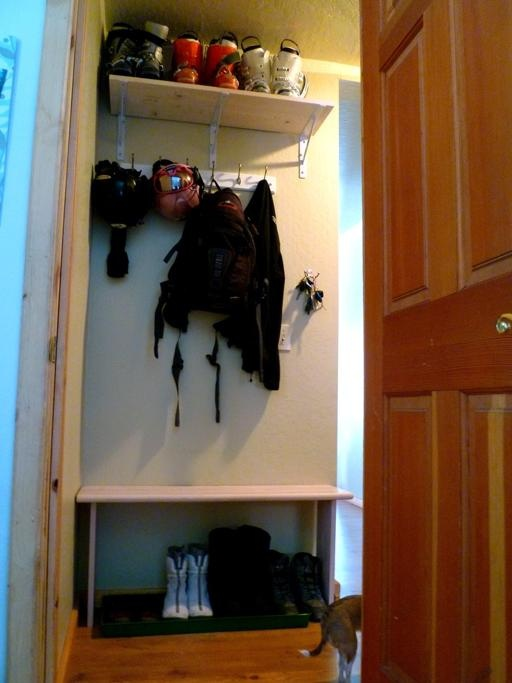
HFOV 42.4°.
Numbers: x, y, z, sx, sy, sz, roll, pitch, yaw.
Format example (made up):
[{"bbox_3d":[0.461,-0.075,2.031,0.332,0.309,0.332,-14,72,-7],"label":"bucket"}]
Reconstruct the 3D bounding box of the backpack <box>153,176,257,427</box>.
[{"bbox_3d":[-0.203,-0.138,2.610,0.426,0.981,0.316,6,4,36],"label":"backpack"}]

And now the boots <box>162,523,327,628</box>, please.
[{"bbox_3d":[-0.054,0.893,2.451,0.437,0.255,0.362,2,-9,-7],"label":"boots"}]

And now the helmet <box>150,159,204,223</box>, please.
[{"bbox_3d":[-0.310,-0.574,2.519,0.152,0.257,0.171,0,6,-2],"label":"helmet"}]
